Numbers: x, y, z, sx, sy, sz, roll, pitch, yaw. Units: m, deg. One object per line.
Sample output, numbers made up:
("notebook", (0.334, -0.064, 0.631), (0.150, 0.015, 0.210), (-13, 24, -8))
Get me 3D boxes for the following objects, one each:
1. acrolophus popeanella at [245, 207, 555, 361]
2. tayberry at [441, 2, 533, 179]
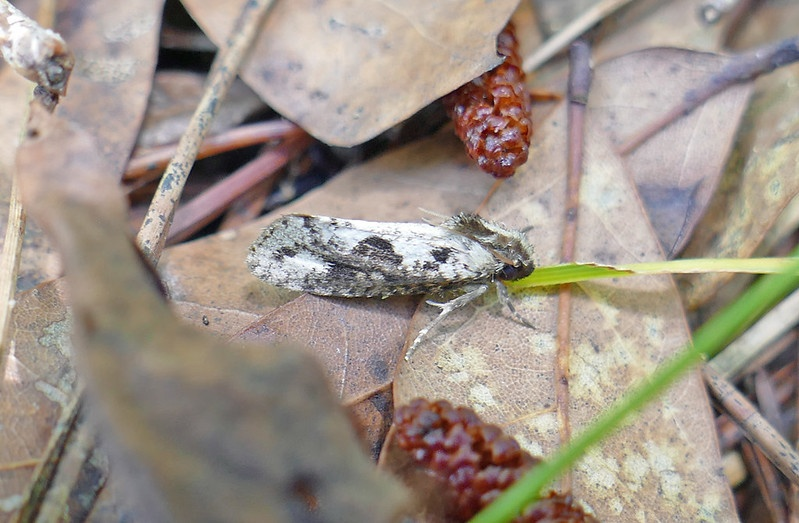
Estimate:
("acrolophus popeanella", (0.020, 0.004, 3.265), (1.226, 0.326, 0.769), (-2, 39, -8))
("tayberry", (0.399, -0.697, 3.290), (0.339, 0.243, 0.633), (46, 39, -36))
